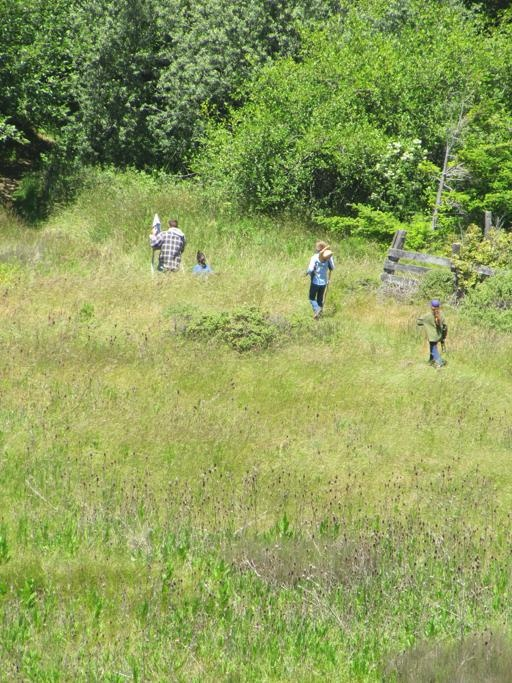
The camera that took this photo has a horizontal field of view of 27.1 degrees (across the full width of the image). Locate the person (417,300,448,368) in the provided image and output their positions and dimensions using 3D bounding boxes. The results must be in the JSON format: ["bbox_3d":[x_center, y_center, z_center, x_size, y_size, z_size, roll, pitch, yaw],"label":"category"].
[{"bbox_3d":[2.843,-0.183,17.059,0.316,1.106,0.489,-11,22,-14],"label":"person"}]

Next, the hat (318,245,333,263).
[{"bbox_3d":[1.245,-1.558,19.091,0.213,0.285,0.356,4,15,11],"label":"hat"}]

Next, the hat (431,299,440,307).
[{"bbox_3d":[2.837,-0.605,16.845,0.080,0.099,0.139,0,5,3],"label":"hat"}]

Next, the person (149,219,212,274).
[{"bbox_3d":[-1.548,-1.928,20.850,0.988,1.270,1.349,0,14,-5],"label":"person"}]

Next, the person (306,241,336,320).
[{"bbox_3d":[1.159,-1.146,19.295,0.437,1.374,1.130,2,13,3],"label":"person"}]
